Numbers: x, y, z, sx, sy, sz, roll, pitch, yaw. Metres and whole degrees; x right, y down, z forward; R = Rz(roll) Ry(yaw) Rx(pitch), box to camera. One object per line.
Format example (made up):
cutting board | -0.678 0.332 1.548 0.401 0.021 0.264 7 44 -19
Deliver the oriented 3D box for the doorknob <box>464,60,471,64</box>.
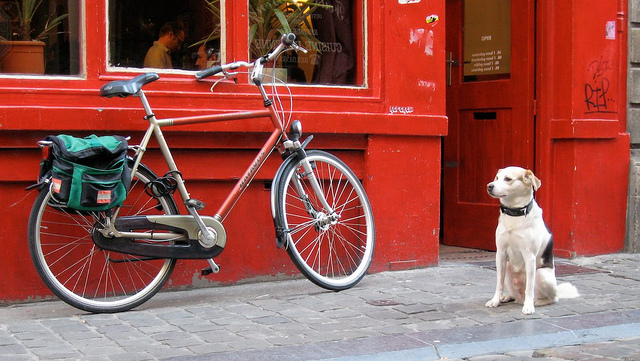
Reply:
doorknob | 2.199 -1.749 8.915 0.099 0.056 0.017 13 18 42

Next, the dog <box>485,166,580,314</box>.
dog | 2.200 0.612 6.353 0.907 1.464 0.627 5 14 14

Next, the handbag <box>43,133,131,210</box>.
handbag | -2.427 -0.133 6.189 0.864 0.694 0.884 5 9 -4
